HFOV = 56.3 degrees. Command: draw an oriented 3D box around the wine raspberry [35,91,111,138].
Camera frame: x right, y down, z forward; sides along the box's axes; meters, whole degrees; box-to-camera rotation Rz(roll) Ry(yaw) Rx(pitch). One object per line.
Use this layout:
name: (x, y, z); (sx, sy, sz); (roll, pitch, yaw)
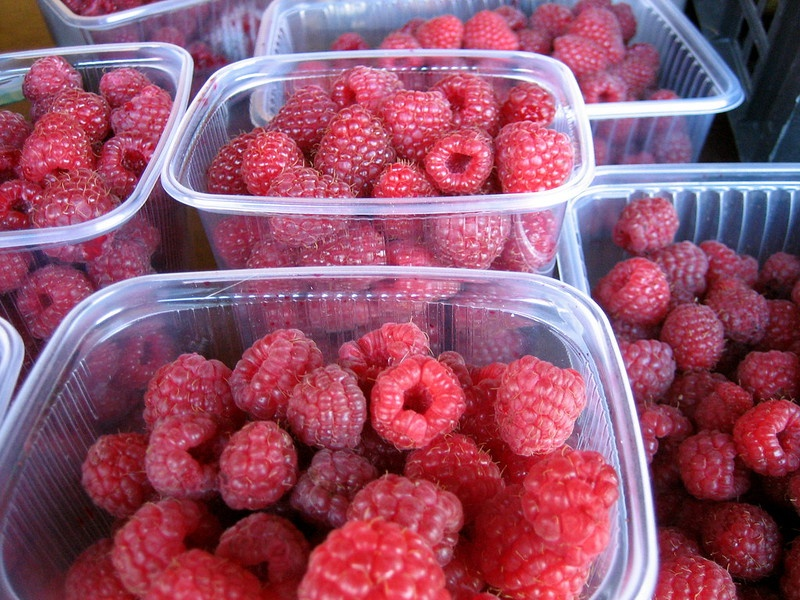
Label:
wine raspberry: (-0.989, -0.544, 2.271); (0.154, 0.163, 0.155); (15, 91, 37)

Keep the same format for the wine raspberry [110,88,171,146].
wine raspberry: (-0.763, -0.553, 2.272); (0.170, 0.150, 0.173); (-16, 73, -18)
